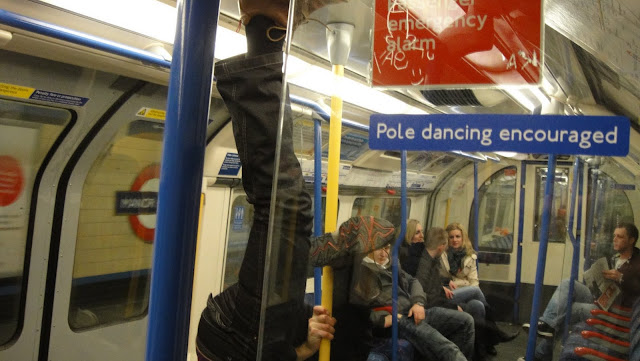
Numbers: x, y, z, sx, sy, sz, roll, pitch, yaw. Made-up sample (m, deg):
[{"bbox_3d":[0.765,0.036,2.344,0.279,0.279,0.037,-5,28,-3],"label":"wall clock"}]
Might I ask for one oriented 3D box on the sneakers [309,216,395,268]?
[{"bbox_3d":[0.116,0.211,1.587,0.266,0.170,0.071,-15,-5,14],"label":"sneakers"}]
